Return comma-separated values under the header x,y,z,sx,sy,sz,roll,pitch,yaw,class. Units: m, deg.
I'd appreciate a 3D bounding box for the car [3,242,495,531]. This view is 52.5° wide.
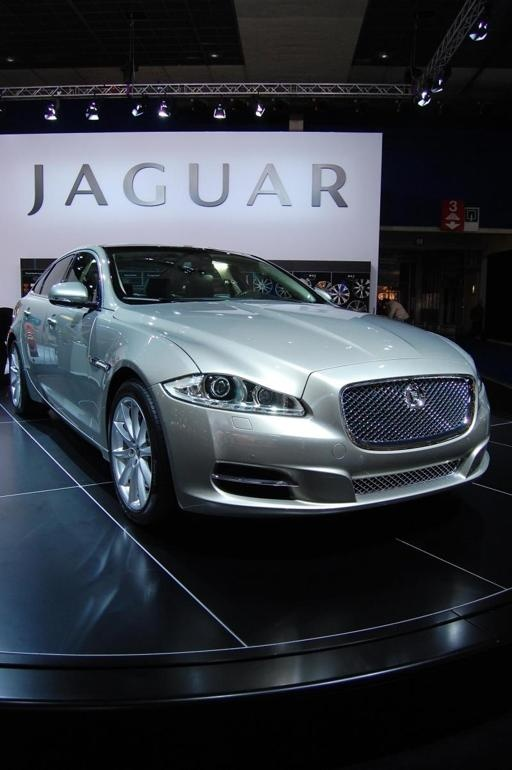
x,y,z,sx,sy,sz,roll,pitch,yaw,class
-0.405,-0.047,2.679,1.162,0.858,2.624,0,5,-31,car
